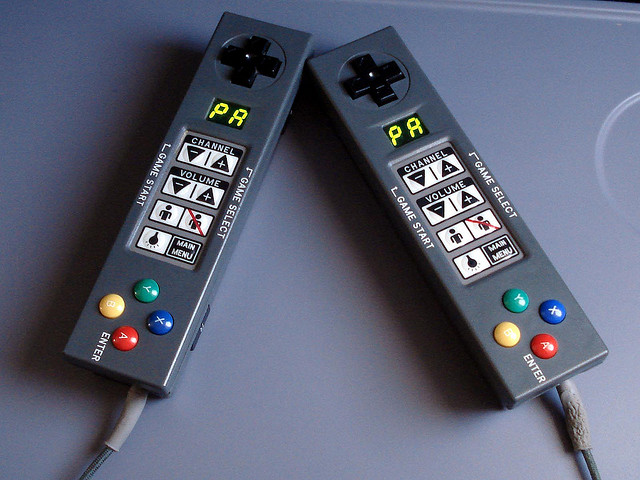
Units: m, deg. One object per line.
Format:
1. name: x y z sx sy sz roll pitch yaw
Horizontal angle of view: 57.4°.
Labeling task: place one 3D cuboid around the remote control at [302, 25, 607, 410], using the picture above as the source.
1. remote control: 0.150 -0.115 0.960 0.221 0.750 0.191 -27 -14 -7

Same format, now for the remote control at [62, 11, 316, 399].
1. remote control: -0.143 -0.113 0.946 0.196 0.688 0.178 21 -17 5
